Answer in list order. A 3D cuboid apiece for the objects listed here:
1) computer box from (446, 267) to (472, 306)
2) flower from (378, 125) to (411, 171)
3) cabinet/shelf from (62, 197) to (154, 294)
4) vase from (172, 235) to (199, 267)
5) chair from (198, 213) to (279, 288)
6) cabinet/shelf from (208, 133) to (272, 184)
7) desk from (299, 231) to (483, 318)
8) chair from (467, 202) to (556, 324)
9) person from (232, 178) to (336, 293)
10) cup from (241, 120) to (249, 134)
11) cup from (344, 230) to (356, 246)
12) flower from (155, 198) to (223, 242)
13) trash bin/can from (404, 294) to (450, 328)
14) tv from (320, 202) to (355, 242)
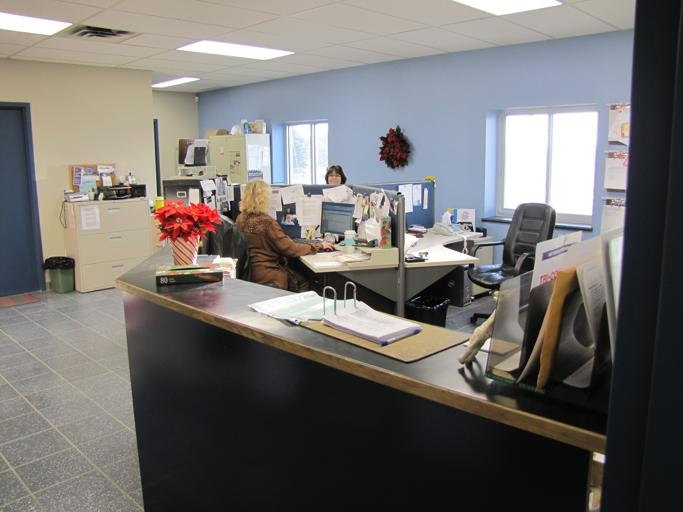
[{"bbox_3d":[1.288,0.354,5.448,0.309,0.397,0.270,-3,1,20],"label":"computer box"},{"bbox_3d":[0.774,-1.558,7.103,0.175,0.624,0.541,-12,17,-40],"label":"flower"},{"bbox_3d":[-3.203,-0.161,6.722,0.638,1.139,1.039,8,12,40],"label":"cabinet/shelf"},{"bbox_3d":[-0.816,-0.025,2.643,0.139,0.129,0.153,1,0,-5],"label":"vase"},{"bbox_3d":[-0.851,-0.087,4.185,0.643,0.662,0.491,9,13,42],"label":"chair"},{"bbox_3d":[-1.802,-1.620,8.613,1.038,0.996,0.625,8,17,31],"label":"cabinet/shelf"},{"bbox_3d":[0.437,-0.013,4.206,0.871,0.322,0.866,-8,14,-35],"label":"desk"},{"bbox_3d":[1.622,0.088,4.874,0.758,1.178,0.824,9,16,37],"label":"chair"},{"bbox_3d":[-0.580,-0.086,4.506,0.798,1.125,0.826,2,1,-24],"label":"person"},{"bbox_3d":[-1.609,-2.172,8.299,0.126,0.219,0.329,-4,13,-10],"label":"cup"},{"bbox_3d":[0.080,-0.163,4.522,0.126,0.194,0.126,0,0,0],"label":"cup"},{"bbox_3d":[-0.832,-0.197,2.610,0.263,0.158,0.265,10,15,28],"label":"flower"},{"bbox_3d":[0.806,0.506,4.560,0.331,0.378,0.398,5,10,35],"label":"trash bin/can"},{"bbox_3d":[-0.022,-0.334,4.791,0.348,0.352,0.123,13,18,39],"label":"tv"}]
